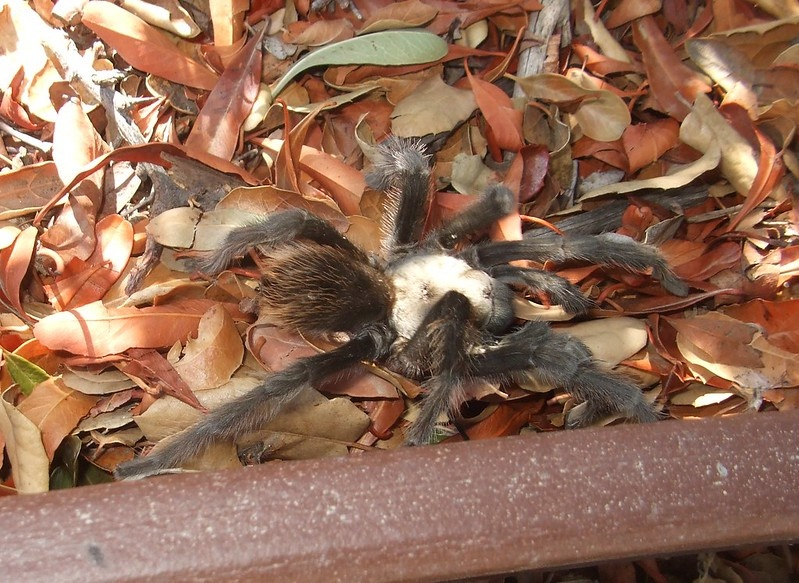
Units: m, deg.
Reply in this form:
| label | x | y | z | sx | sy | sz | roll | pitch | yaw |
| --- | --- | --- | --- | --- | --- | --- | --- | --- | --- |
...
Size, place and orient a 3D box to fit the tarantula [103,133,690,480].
| label | x | y | z | sx | sy | sz | roll | pitch | yaw |
| --- | --- | --- | --- | --- | --- | --- | --- | --- | --- |
| tarantula | -0.013 | 0.033 | 1.058 | 0.861 | 0.240 | 0.436 | 8 | 43 | 12 |
